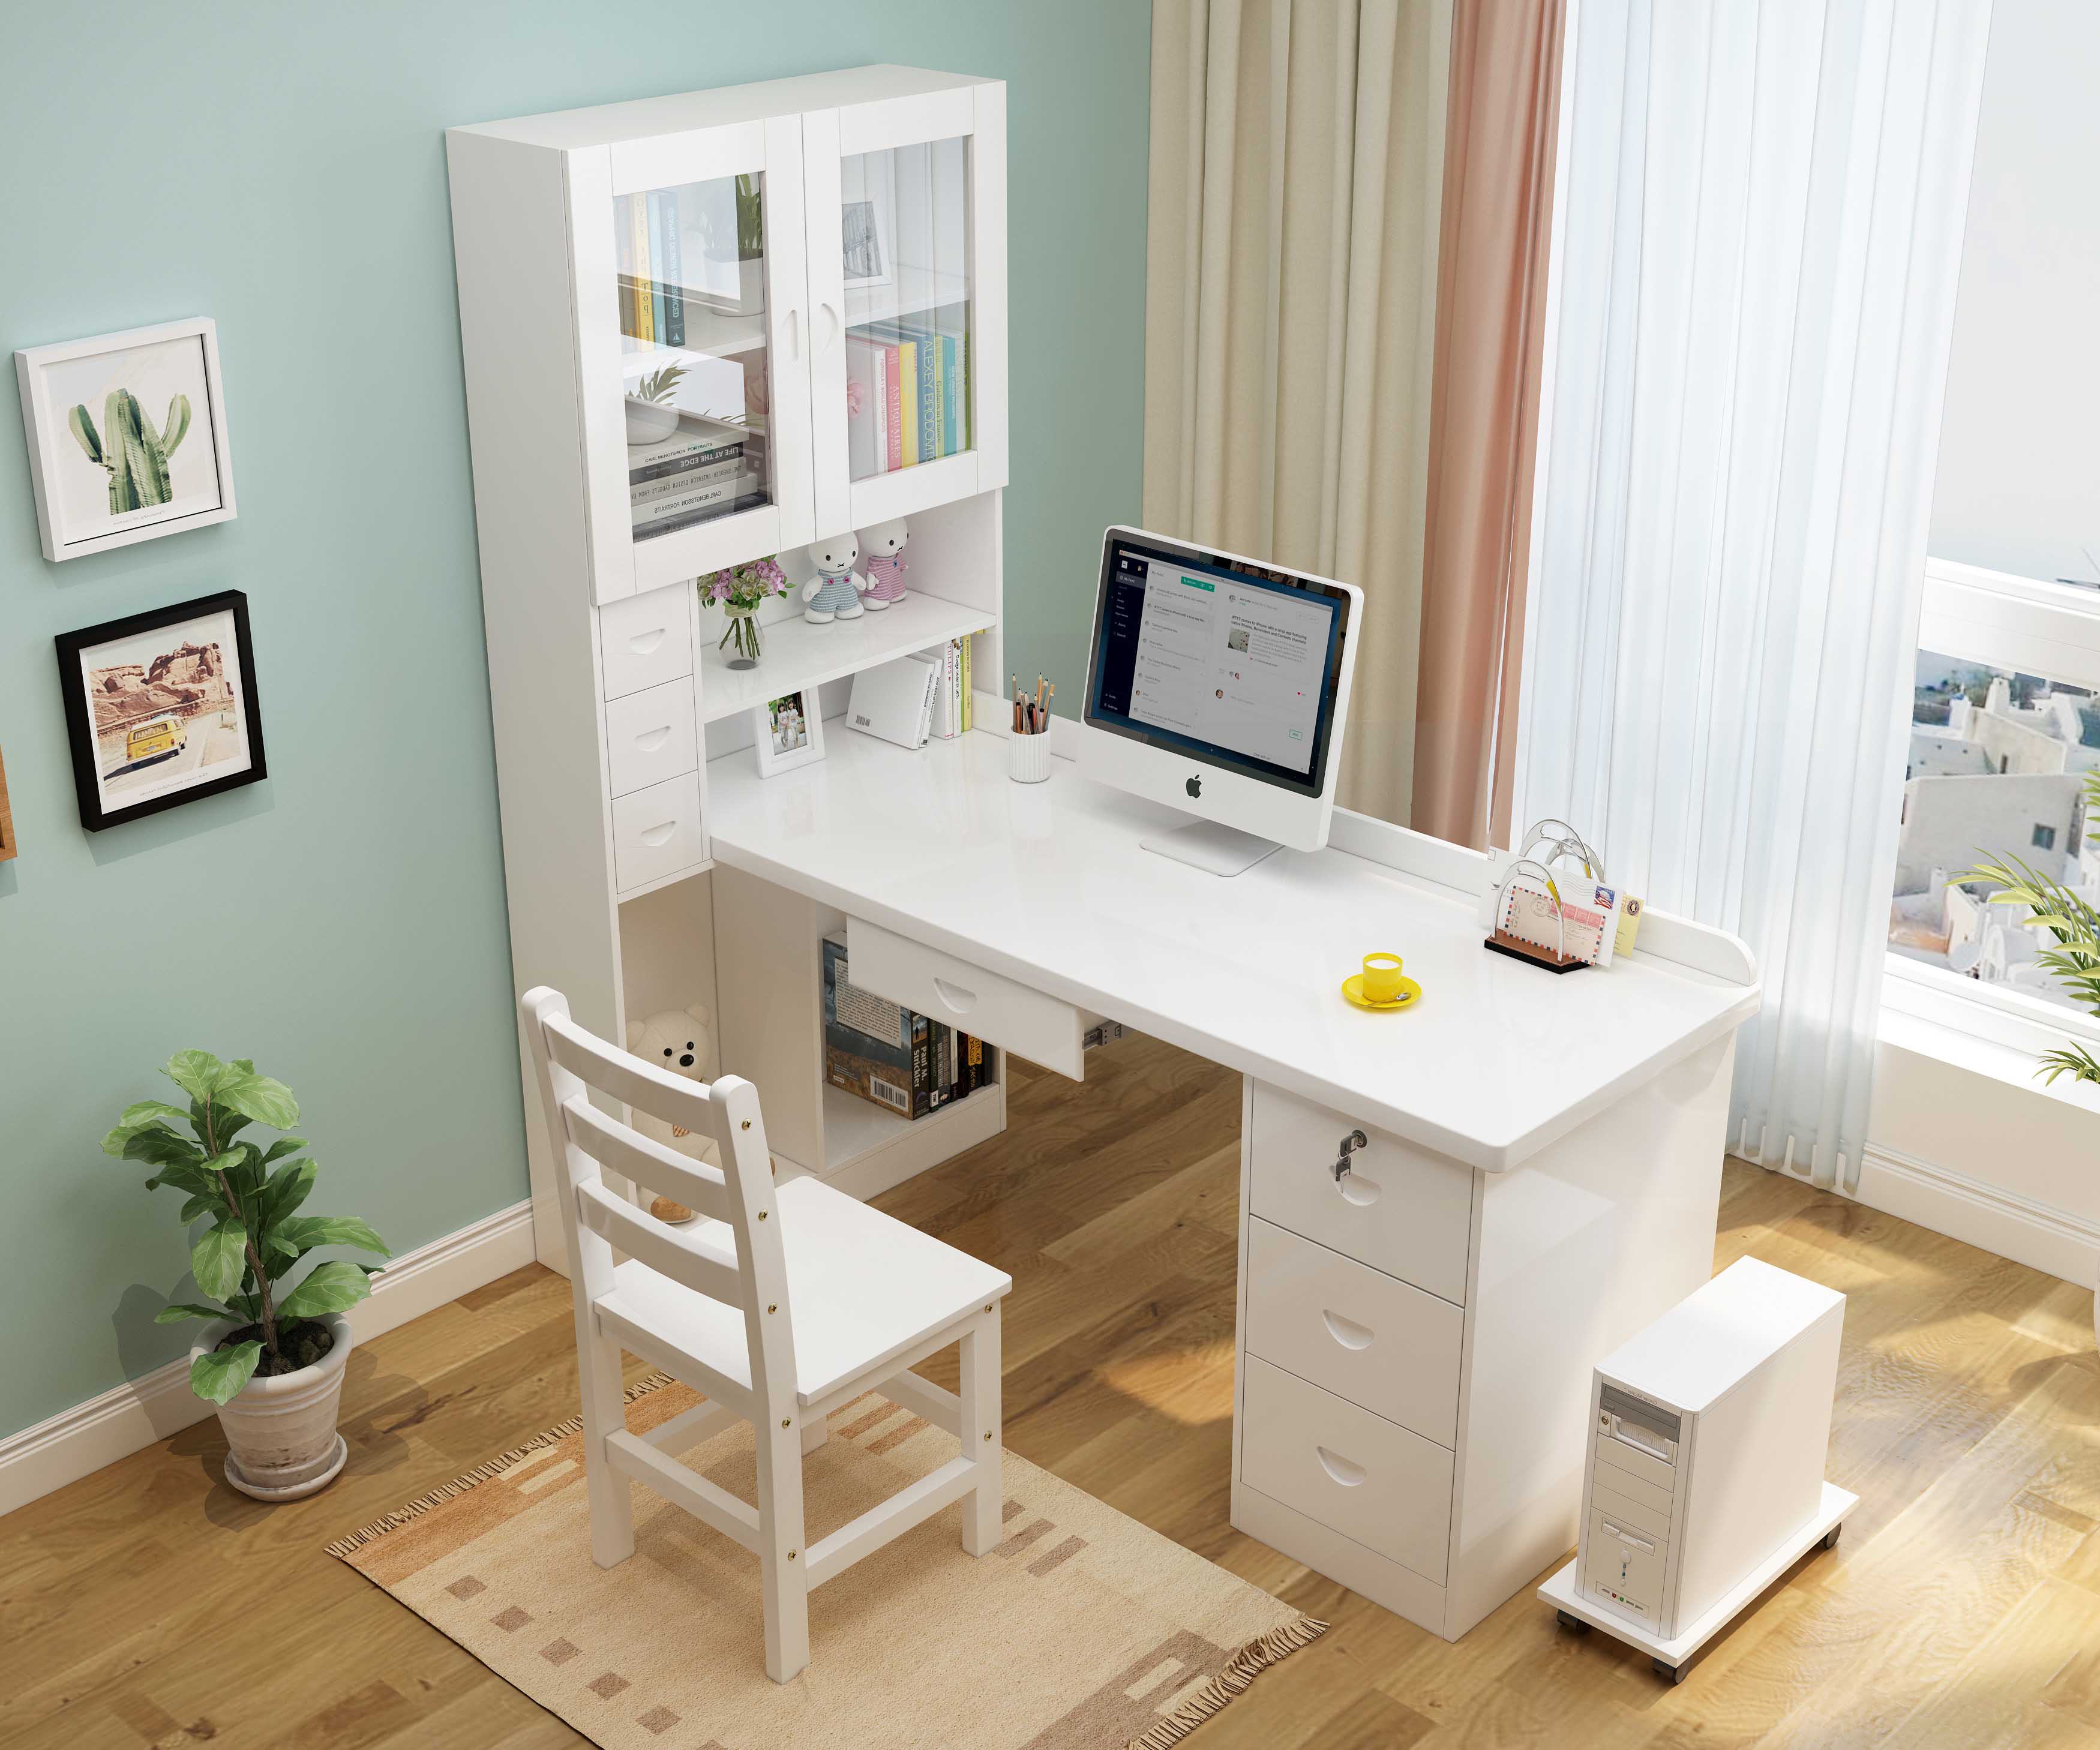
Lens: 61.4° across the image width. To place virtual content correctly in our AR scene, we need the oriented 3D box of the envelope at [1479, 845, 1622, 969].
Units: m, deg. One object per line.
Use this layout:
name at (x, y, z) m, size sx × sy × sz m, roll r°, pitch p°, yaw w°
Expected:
envelope at (0.771, 0.035, 2.708) m, size 0.194 × 0.170 × 0.169 m, roll 19°, pitch 33°, yaw 36°

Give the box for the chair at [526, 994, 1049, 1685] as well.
chair at (-0.398, 0.572, 2.494) m, size 0.524 × 0.949 × 0.477 m, roll 19°, pitch 30°, yaw 39°

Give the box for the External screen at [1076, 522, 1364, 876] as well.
External screen at (0.287, -0.279, 2.998) m, size 0.604 × 0.537 × 0.122 m, roll 25°, pitch 27°, yaw 34°

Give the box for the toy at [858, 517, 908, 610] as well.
toy at (-0.331, -0.607, 3.432) m, size 0.076 × 0.178 × 0.115 m, roll 20°, pitch 32°, yaw 34°

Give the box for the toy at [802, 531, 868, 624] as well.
toy at (-0.418, -0.567, 3.370) m, size 0.124 × 0.174 × 0.080 m, roll -14°, pitch 35°, yaw -27°

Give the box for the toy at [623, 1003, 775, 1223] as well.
toy at (-0.708, 0.462, 3.393) m, size 0.281 × 0.396 × 0.304 m, roll 14°, pitch 20°, yaw 32°

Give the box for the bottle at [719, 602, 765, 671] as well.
bottle at (-0.568, -0.433, 3.218) m, size 0.080 × 0.117 × 0.081 m, roll -2°, pitch 30°, yaw 1°

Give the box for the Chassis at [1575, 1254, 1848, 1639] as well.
Chassis at (0.957, 0.822, 2.546) m, size 0.413 × 0.393 × 0.160 m, roll -20°, pitch 26°, yaw -37°

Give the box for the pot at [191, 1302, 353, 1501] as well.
pot at (-1.191, 0.843, 2.769) m, size 0.211 × 0.243 × 0.173 m, roll -15°, pitch 27°, yaw -28°

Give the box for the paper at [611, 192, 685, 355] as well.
paper at (-0.617, -0.925, 2.683) m, size 0.115 × 0.214 × 0.159 m, roll -21°, pitch 33°, yaw -33°

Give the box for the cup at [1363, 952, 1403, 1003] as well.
cup at (0.479, 0.150, 2.561) m, size 0.052 × 0.052 × 0.071 m, roll 0°, pitch 21°, yaw 3°
